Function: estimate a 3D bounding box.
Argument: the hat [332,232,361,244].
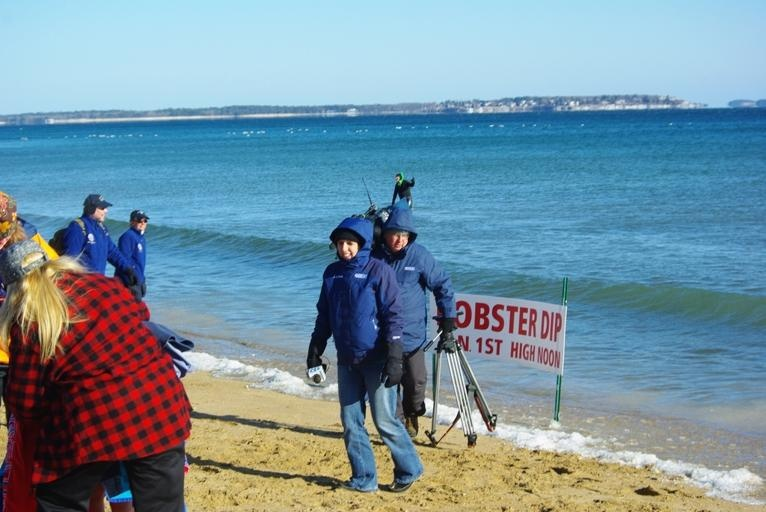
[{"bbox_3d":[-0.505,-0.205,13.757,0.260,0.143,0.196,20,-26,-26],"label":"hat"}]

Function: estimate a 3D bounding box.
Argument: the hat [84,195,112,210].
[{"bbox_3d":[-4.445,-0.801,16.528,0.362,0.165,0.232,0,8,-23],"label":"hat"}]

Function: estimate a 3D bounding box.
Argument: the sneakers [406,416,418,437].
[{"bbox_3d":[0.386,2.419,15.329,0.123,0.306,0.136,-3,-3,-1],"label":"sneakers"}]

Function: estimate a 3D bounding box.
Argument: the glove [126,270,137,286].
[{"bbox_3d":[-3.956,0.343,16.709,0.170,0.219,0.070,-3,6,7],"label":"glove"}]

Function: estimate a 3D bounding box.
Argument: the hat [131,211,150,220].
[{"bbox_3d":[-4.070,-0.669,17.588,0.291,0.150,0.204,-8,-7,29],"label":"hat"}]

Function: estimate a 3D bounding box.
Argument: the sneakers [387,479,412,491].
[{"bbox_3d":[0.187,2.974,14.067,0.302,0.116,0.125,4,2,-2],"label":"sneakers"}]
